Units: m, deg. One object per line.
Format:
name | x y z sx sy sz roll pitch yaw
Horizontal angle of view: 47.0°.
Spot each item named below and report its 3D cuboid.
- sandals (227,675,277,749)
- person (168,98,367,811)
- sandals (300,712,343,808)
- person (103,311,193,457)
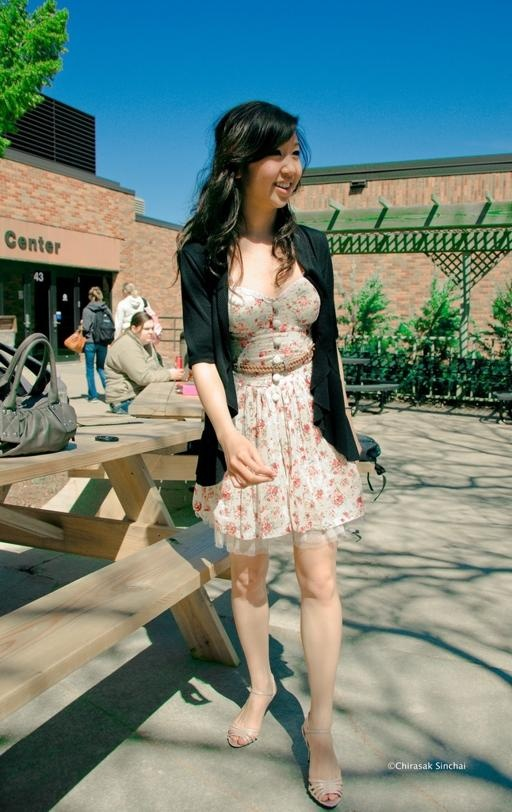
sandals | 0.016 0.921 1.844 0.103 0.107 0.281 0 13 26
person | 0.044 0.136 1.637 0.484 1.828 0.502 -3 4 -37
sandals | 0.167 0.923 1.556 0.080 0.087 0.225 -1 27 -3
person | -1.037 -0.408 5.598 0.819 0.883 0.636 9 12 23
